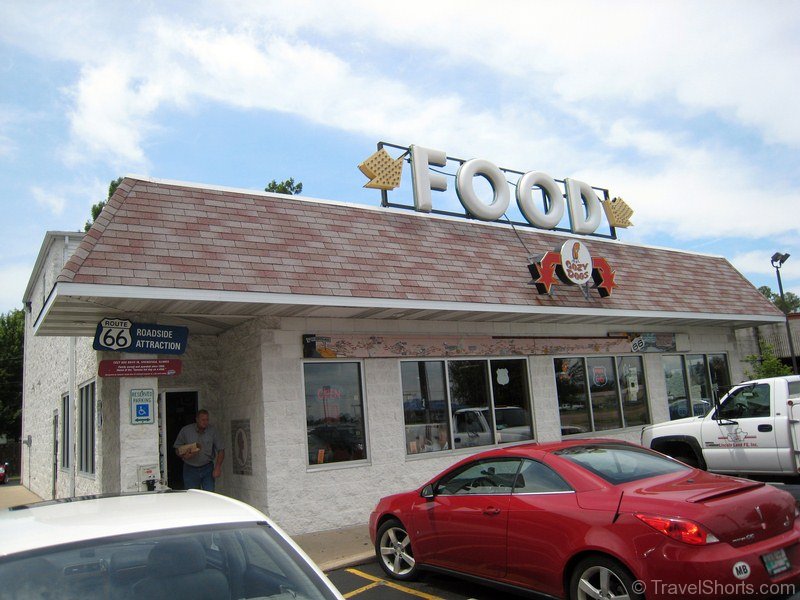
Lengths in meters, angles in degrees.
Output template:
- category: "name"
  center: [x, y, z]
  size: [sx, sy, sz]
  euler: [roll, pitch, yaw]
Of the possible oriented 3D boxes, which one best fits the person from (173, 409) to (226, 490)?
- category: "person"
  center: [-3.659, 2.988, 10.480]
  size: [0.917, 1.845, 0.710]
  euler: [-3, -4, -4]
